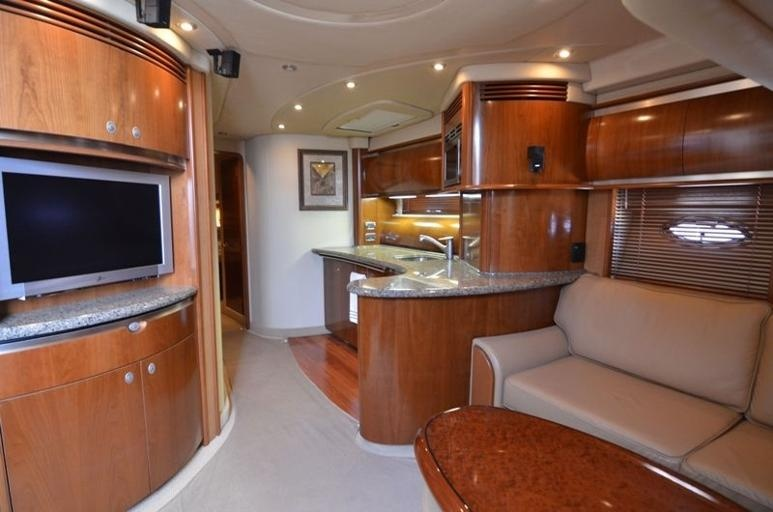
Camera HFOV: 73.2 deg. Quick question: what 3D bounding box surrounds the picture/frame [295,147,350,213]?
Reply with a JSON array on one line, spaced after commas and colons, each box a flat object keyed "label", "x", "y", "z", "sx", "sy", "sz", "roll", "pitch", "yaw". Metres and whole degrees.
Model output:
[{"label": "picture/frame", "x": -0.750, "y": -0.894, "z": 5.973, "sx": 0.744, "sy": 0.818, "sz": 0.057, "roll": -4, "pitch": 8, "yaw": -26}]

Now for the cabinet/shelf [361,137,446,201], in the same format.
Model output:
[{"label": "cabinet/shelf", "x": 0.132, "y": -0.921, "z": 5.545, "sx": 0.223, "sy": 0.719, "sz": 1.414, "roll": -6, "pitch": 16, "yaw": -29}]

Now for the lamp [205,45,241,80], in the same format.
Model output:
[{"label": "lamp", "x": -1.110, "y": -1.348, "z": 3.642, "sx": 0.187, "sy": 0.216, "sz": 0.227, "roll": 15, "pitch": 19, "yaw": 28}]

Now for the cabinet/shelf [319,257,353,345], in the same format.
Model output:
[{"label": "cabinet/shelf", "x": -0.531, "y": 0.480, "z": 5.682, "sx": 0.286, "sy": 0.755, "sz": 0.882, "roll": -3, "pitch": 7, "yaw": -25}]

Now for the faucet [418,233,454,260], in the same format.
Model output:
[{"label": "faucet", "x": 0.504, "y": -0.100, "z": 5.074, "sx": 0.410, "sy": 0.233, "sz": 0.174, "roll": 6, "pitch": -3, "yaw": -33}]

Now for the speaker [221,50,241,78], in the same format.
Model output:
[{"label": "speaker", "x": -1.053, "y": -1.337, "z": 3.630, "sx": 0.097, "sy": 0.179, "sz": 0.194, "roll": 7, "pitch": 14, "yaw": 19}]
